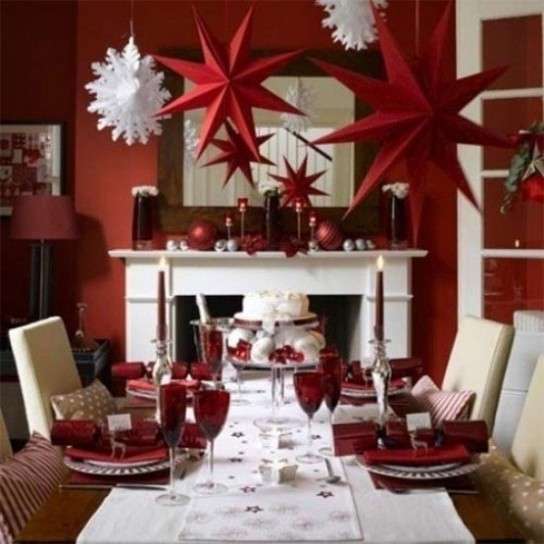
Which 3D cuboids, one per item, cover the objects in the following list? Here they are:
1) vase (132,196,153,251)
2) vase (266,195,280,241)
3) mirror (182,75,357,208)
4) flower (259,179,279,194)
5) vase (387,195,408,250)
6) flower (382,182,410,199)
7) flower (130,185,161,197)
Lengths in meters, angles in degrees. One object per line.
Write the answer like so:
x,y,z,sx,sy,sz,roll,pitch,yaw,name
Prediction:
-0.830,-0.317,3.443,0.121,0.343,0.085,0,3,-20,vase
0.007,-0.336,3.416,0.096,0.301,0.056,1,2,-1,vase
-0.017,-0.685,2.816,0.948,0.966,0.044,-1,0,-3,mirror
-0.020,-0.536,3.401,0.097,0.041,0.098,-6,14,-42,flower
0.819,-0.323,3.484,0.124,0.352,0.091,2,2,8,vase
0.805,-0.524,3.458,0.164,0.111,0.130,2,3,7,flower
-0.829,-0.534,3.498,0.182,0.094,0.256,1,3,-15,flower
